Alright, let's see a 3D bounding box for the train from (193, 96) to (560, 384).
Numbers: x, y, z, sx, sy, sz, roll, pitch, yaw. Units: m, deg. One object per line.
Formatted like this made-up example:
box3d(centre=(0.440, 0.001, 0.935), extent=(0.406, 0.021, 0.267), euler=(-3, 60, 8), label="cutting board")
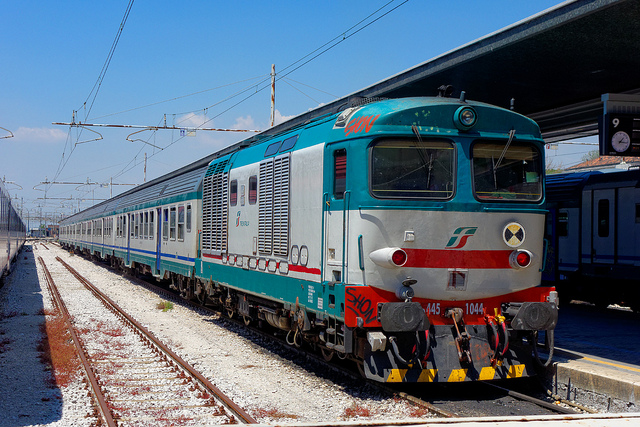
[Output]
box3d(centre=(0.768, 0.419, 10.394), extent=(6.576, 5.124, 2.859), euler=(0, 3, 40), label="train")
